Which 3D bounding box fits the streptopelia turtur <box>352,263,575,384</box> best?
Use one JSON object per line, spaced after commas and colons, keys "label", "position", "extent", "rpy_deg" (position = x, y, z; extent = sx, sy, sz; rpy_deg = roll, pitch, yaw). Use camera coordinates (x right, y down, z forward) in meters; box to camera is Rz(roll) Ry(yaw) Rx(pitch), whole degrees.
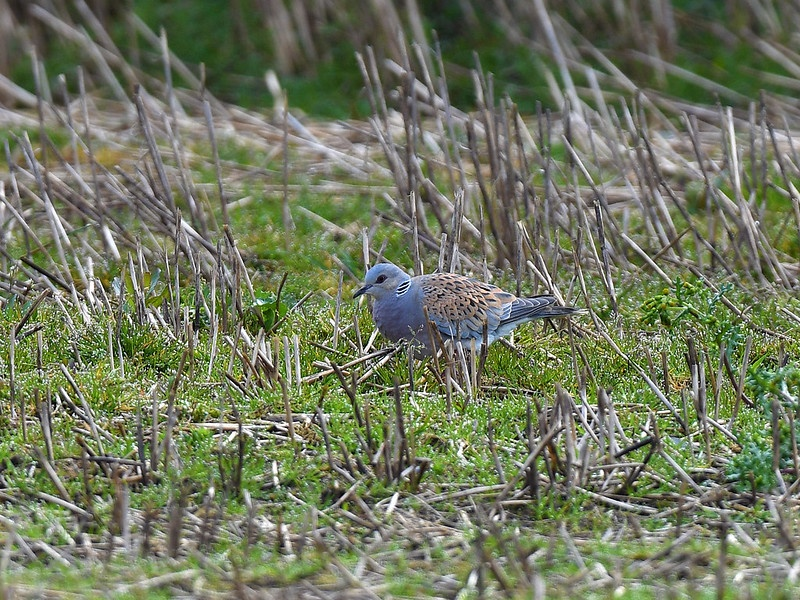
{"label": "streptopelia turtur", "position": [0.415, 0.028, 5.330], "extent": [1.276, 0.735, 0.437], "rpy_deg": [-13, 8, -17]}
